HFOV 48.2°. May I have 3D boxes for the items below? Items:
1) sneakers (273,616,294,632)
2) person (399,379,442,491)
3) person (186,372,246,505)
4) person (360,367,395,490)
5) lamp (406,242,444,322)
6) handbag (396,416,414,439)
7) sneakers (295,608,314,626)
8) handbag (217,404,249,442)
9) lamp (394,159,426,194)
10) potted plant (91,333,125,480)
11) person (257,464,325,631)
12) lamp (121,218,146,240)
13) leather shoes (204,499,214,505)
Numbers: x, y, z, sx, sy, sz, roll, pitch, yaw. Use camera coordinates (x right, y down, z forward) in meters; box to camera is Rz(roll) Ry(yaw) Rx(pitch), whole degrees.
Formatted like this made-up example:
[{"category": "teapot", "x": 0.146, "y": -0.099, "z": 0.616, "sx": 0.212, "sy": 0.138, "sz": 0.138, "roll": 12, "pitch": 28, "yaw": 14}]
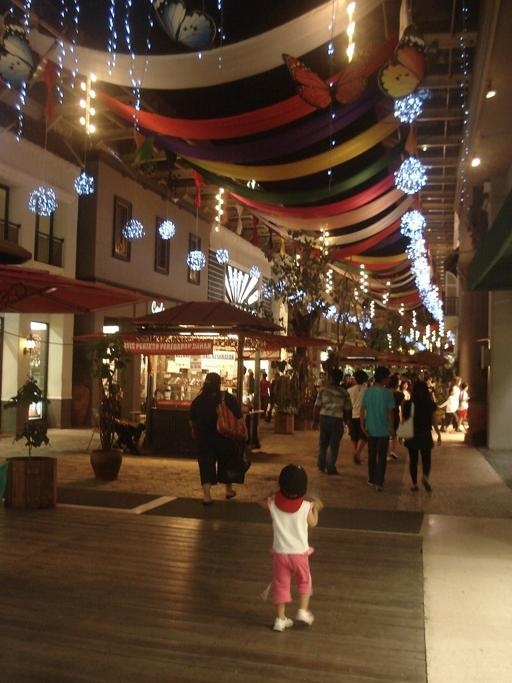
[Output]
[{"category": "sneakers", "x": 0.153, "y": 1.621, "z": 3.343, "sx": 0.051, "sy": 0.068, "sz": 0.143, "roll": 0, "pitch": 0, "yaw": 28}, {"category": "person", "x": 2.374, "y": 1.369, "z": 8.389, "sx": 0.471, "sy": 1.639, "sz": 0.798, "roll": -1, "pitch": -5, "yaw": 21}, {"category": "person", "x": -0.496, "y": 1.237, "z": 7.424, "sx": 0.746, "sy": 1.650, "sz": 0.546, "roll": 2, "pitch": -5, "yaw": -11}, {"category": "person", "x": 1.876, "y": 1.289, "z": 8.775, "sx": 0.482, "sy": 1.876, "sz": 0.433, "roll": 7, "pitch": 11, "yaw": 38}, {"category": "lamp", "x": 8.917, "y": -3.109, "z": 30.117, "sx": 0.713, "sy": 4.767, "sz": 0.818, "roll": -13, "pitch": -14, "yaw": -5}, {"category": "handbag", "x": 2.131, "y": 1.239, "z": 8.201, "sx": 0.225, "sy": 0.320, "sz": 0.249, "roll": -1, "pitch": -5, "yaw": 23}, {"category": "sneakers", "x": 0.286, "y": 1.613, "z": 3.365, "sx": 0.049, "sy": 0.073, "sz": 0.149, "roll": 0, "pitch": -9, "yaw": 17}, {"category": "handbag", "x": -0.318, "y": 1.018, "z": 7.327, "sx": 0.424, "sy": 0.494, "sz": 0.183, "roll": 4, "pitch": -6, "yaw": -33}, {"category": "lamp", "x": 2.849, "y": -3.117, "z": 10.596, "sx": 0.508, "sy": 0.705, "sz": 0.363, "roll": 0, "pitch": -5, "yaw": 8}, {"category": "potted plant", "x": -2.452, "y": 1.066, "z": 9.411, "sx": 0.505, "sy": 2.289, "sz": 1.103, "roll": 2, "pitch": -5, "yaw": -15}, {"category": "person", "x": 0.210, "y": 1.187, "z": 3.359, "sx": 0.330, "sy": 0.944, "sz": 0.244, "roll": 1, "pitch": -4, "yaw": 1}, {"category": "lamp", "x": -3.979, "y": -3.661, "z": 18.639, "sx": 0.745, "sy": 0.855, "sz": 0.788, "roll": 2, "pitch": -7, "yaw": -25}, {"category": "leather shoes", "x": -0.589, "y": 1.987, "z": 7.144, "sx": 0.072, "sy": 0.070, "sz": 0.169, "roll": -3, "pitch": -7, "yaw": 38}]
